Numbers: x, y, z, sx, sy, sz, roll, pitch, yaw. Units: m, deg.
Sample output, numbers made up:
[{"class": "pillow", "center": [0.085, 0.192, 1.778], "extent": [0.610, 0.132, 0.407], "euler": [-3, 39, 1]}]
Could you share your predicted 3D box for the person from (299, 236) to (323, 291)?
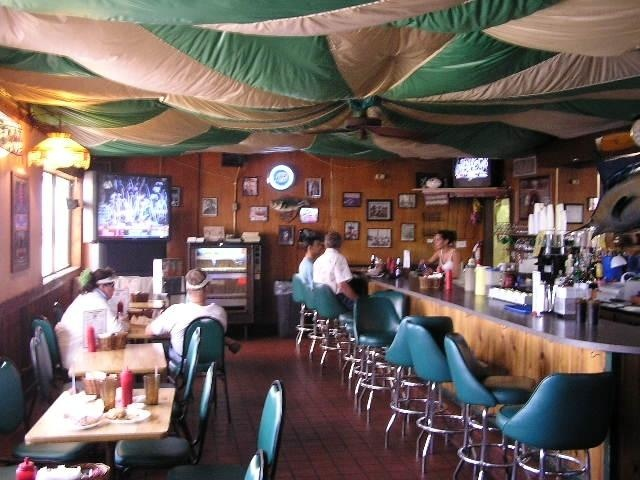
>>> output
[{"class": "person", "center": [-0.139, 0.372, 8.340], "extent": [0.417, 0.869, 0.900], "euler": [-2, 2, -18]}]

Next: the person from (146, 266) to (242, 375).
[{"class": "person", "center": [-1.398, 1.093, 5.567], "extent": [0.962, 1.546, 0.872], "euler": [2, 6, -15]}]

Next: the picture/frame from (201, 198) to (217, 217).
[{"class": "picture/frame", "center": [-2.125, -0.648, 9.882], "extent": [0.368, 0.464, 0.049], "euler": [1, -2, -14]}]

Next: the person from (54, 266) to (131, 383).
[{"class": "person", "center": [-2.458, 0.881, 5.277], "extent": [0.564, 1.224, 0.715], "euler": [19, 6, 37]}]

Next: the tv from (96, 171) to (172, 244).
[{"class": "tv", "center": [-3.104, -0.547, 8.530], "extent": [1.276, 1.127, 0.444], "euler": [1, 0, -25]}]

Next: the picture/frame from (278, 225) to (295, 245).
[{"class": "picture/frame", "center": [-0.660, -0.114, 10.089], "extent": [0.408, 0.524, 0.069], "euler": [1, 0, -6]}]

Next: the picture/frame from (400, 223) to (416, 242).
[{"class": "picture/frame", "center": [1.768, -0.186, 10.444], "extent": [0.389, 0.441, 0.047], "euler": [-1, 2, 2]}]

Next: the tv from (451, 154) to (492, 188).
[{"class": "tv", "center": [2.823, -1.226, 9.780], "extent": [0.890, 0.736, 0.471], "euler": [0, -2, 9]}]

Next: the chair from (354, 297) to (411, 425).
[{"class": "chair", "center": [0.654, 1.243, 5.805], "extent": [0.478, 1.113, 0.524], "euler": [-1, 6, 35]}]

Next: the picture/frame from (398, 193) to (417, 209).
[{"class": "picture/frame", "center": [1.751, -0.816, 10.415], "extent": [0.314, 0.260, 0.032], "euler": [2, 6, 1]}]

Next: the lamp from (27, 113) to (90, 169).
[{"class": "lamp", "center": [-2.819, -1.066, 5.698], "extent": [0.544, 0.564, 0.535], "euler": [1, -2, -1]}]

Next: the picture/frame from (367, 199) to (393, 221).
[{"class": "picture/frame", "center": [1.181, -0.619, 10.349], "extent": [0.449, 0.361, 0.035], "euler": [-1, 2, -4]}]

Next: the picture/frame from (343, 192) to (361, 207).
[{"class": "picture/frame", "center": [0.624, -0.824, 10.266], "extent": [0.309, 0.245, 0.025], "euler": [1, -1, -8]}]

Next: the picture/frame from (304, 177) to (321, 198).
[{"class": "picture/frame", "center": [-0.149, -1.046, 10.149], "extent": [0.427, 0.546, 0.055], "euler": [1, -2, -9]}]

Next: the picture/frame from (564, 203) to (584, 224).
[{"class": "picture/frame", "center": [4.142, -0.427, 8.407], "extent": [0.277, 0.328, 0.170], "euler": [1, 4, 23]}]

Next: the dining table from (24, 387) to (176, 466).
[{"class": "dining table", "center": [-1.375, 1.032, 3.352], "extent": [0.606, 0.573, 0.594], "euler": [2, 1, -7]}]

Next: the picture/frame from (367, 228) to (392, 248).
[{"class": "picture/frame", "center": [1.181, -0.072, 10.377], "extent": [0.411, 0.328, 0.054], "euler": [-1, 1, -4]}]

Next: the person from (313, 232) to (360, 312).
[{"class": "person", "center": [0.162, 0.529, 7.545], "extent": [0.789, 1.212, 0.723], "euler": [0, -8, 18]}]

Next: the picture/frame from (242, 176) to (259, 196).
[{"class": "picture/frame", "center": [-1.348, -1.054, 9.967], "extent": [0.387, 0.436, 0.061], "euler": [1, 0, -6]}]
